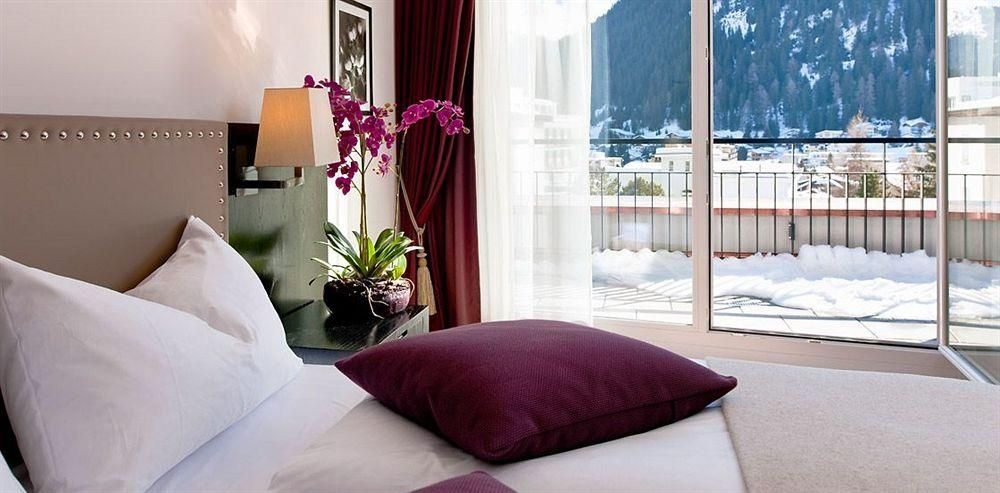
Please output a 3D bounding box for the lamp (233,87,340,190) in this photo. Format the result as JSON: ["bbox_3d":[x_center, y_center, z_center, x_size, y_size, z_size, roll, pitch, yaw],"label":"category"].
[{"bbox_3d":[-1.250,-0.580,3.270,0.653,0.558,0.366,2,9,7],"label":"lamp"}]
